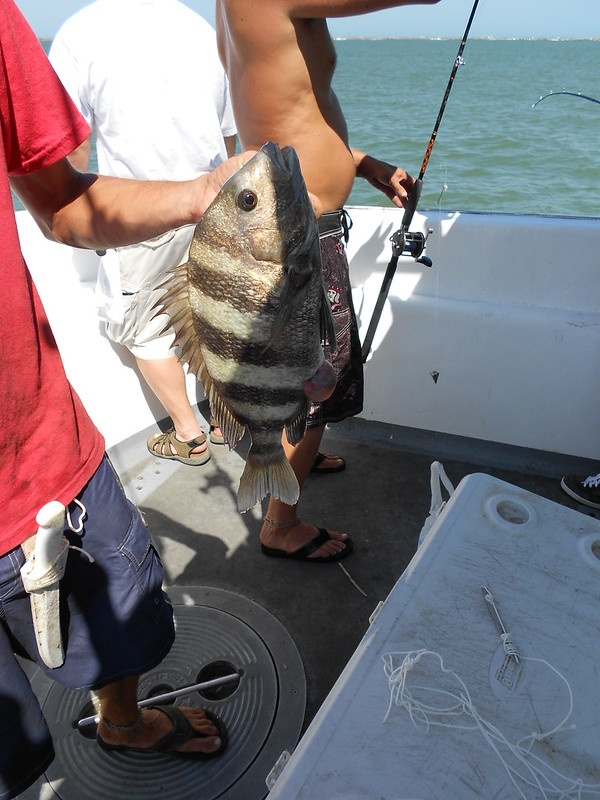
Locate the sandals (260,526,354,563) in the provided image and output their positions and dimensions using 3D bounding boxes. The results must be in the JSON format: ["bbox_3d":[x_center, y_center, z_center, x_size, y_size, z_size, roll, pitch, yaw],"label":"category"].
[{"bbox_3d":[0.021,0.506,2.470,0.259,0.060,0.133,2,23,14],"label":"sandals"}]

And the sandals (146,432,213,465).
[{"bbox_3d":[-0.532,0.194,3.087,0.269,0.109,0.120,12,29,19],"label":"sandals"}]

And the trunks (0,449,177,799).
[{"bbox_3d":[-0.421,0.395,1.374,0.410,0.571,0.196,-2,0,-18],"label":"trunks"}]

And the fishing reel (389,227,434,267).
[{"bbox_3d":[0.386,-0.527,2.474,0.143,0.173,0.122,5,3,-16],"label":"fishing reel"}]

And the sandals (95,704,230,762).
[{"bbox_3d":[-0.364,0.848,1.768,0.362,0.072,0.154,4,14,-4],"label":"sandals"}]

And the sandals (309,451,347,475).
[{"bbox_3d":[0.114,0.251,2.945,0.154,0.043,0.074,0,23,-2],"label":"sandals"}]

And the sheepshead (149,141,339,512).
[{"bbox_3d":[-0.073,-0.143,1.599,0.509,0.793,0.244,17,32,6],"label":"sheepshead"}]
